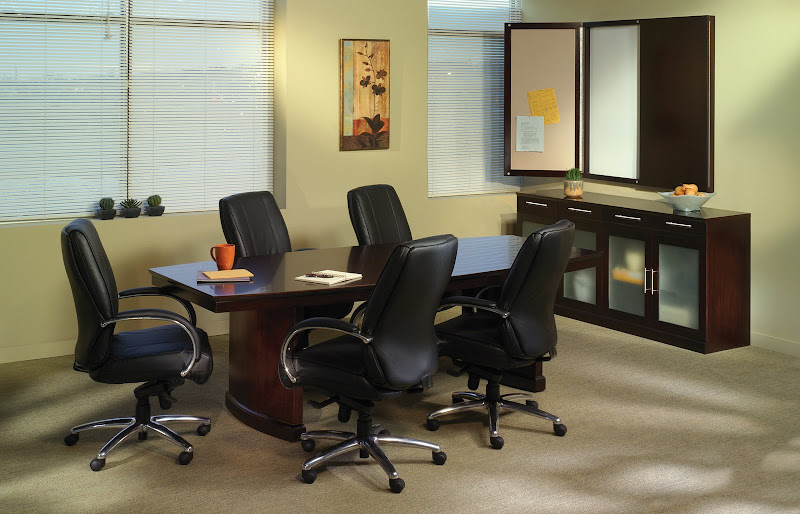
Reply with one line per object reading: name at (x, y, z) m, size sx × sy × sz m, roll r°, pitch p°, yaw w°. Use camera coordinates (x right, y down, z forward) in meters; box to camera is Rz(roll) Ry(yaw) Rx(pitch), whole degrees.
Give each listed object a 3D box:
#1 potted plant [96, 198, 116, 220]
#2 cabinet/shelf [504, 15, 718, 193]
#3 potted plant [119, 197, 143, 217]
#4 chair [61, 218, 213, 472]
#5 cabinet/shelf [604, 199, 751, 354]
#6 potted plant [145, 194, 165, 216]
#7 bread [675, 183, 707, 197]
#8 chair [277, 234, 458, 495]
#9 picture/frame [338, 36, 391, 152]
potted plant at (-2.673, -0.434, 5.635) m, size 0.155 × 0.184 × 0.125 m, roll -10°, pitch 18°, yaw -27°
cabinet/shelf at (2.225, -1.607, 6.341) m, size 2.292 × 1.451 × 0.466 m, roll 6°, pitch 9°, yaw 43°
potted plant at (-2.479, -0.446, 5.716) m, size 0.208 × 0.152 × 0.196 m, roll 3°, pitch -5°, yaw -34°
chair at (-1.686, 0.523, 3.886) m, size 0.886 × 1.525 × 0.843 m, roll -14°, pitch 20°, yaw -34°
cabinet/shelf at (2.588, 0.204, 5.764) m, size 1.300 × 1.225 × 0.607 m, roll 6°, pitch 19°, yaw 25°
potted plant at (-2.315, -0.489, 5.847) m, size 0.178 × 0.188 × 0.232 m, roll -8°, pitch 17°, yaw -20°
bread at (2.643, -0.602, 5.726) m, size 0.175 × 0.076 × 0.211 m, roll -1°, pitch 3°, yaw 0°
chair at (-0.193, 0.606, 3.654) m, size 1.000 × 1.467 × 0.551 m, roll 1°, pitch 18°, yaw 11°
picture/frame at (-0.370, -1.671, 6.401) m, size 0.641 × 1.107 × 0.271 m, roll -7°, pitch 18°, yaw -15°
